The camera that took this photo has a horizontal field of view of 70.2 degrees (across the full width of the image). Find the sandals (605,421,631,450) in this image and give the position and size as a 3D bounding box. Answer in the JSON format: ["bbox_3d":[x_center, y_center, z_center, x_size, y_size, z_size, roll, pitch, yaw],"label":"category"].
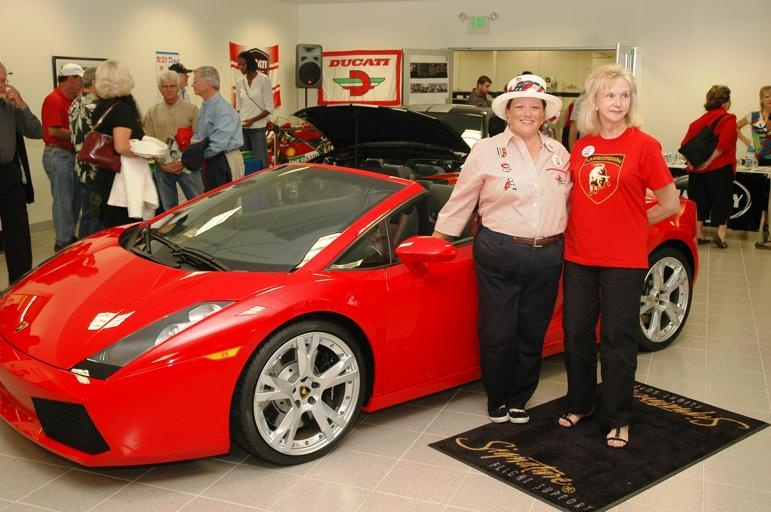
[{"bbox_3d":[1.388,1.076,3.286,0.088,0.067,0.162,-8,-8,32],"label":"sandals"}]

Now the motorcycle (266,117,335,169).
[{"bbox_3d":[-1.283,-2.020,9.745,1.623,0.675,1.230,-6,12,10],"label":"motorcycle"}]

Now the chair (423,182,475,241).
[{"bbox_3d":[0.446,-0.314,3.703,0.370,0.398,0.290,7,11,33],"label":"chair"}]

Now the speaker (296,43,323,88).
[{"bbox_3d":[-1.569,-3.875,11.389,0.587,0.928,0.525,-1,-2,7],"label":"speaker"}]

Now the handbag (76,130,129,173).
[{"bbox_3d":[-2.444,-0.925,4.767,0.333,0.317,0.118,18,1,-5],"label":"handbag"}]

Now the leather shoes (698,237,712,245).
[{"bbox_3d":[4.773,-0.240,8.186,0.155,0.117,0.457,2,3,36],"label":"leather shoes"}]

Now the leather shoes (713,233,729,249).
[{"bbox_3d":[4.863,-0.208,7.950,0.305,0.118,0.116,31,6,-38],"label":"leather shoes"}]

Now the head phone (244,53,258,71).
[{"bbox_3d":[-2.314,-3.279,9.252,0.241,0.243,0.178,-13,26,-42],"label":"head phone"}]

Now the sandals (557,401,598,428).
[{"bbox_3d":[1.245,1.018,3.544,0.255,0.098,0.111,-2,11,-30],"label":"sandals"}]

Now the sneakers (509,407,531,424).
[{"bbox_3d":[0.860,1.004,3.507,0.063,0.056,0.154,-1,1,-18],"label":"sneakers"}]
